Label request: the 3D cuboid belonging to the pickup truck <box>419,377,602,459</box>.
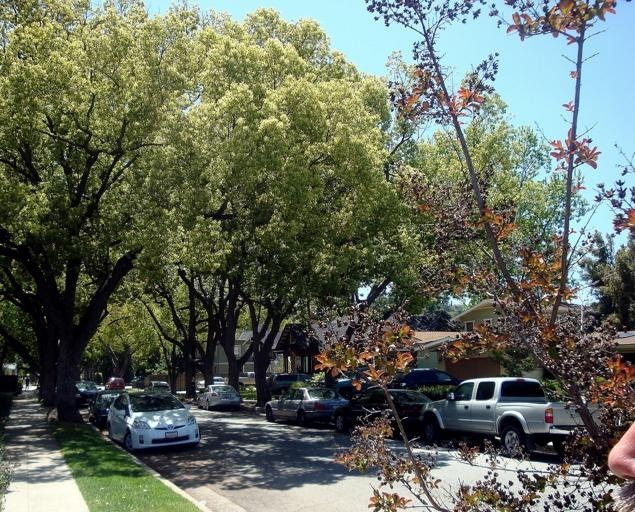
[{"bbox_3d":[5.265,4.615,17.214,2.696,2.119,5.864,3,-12,-10],"label":"pickup truck"}]
